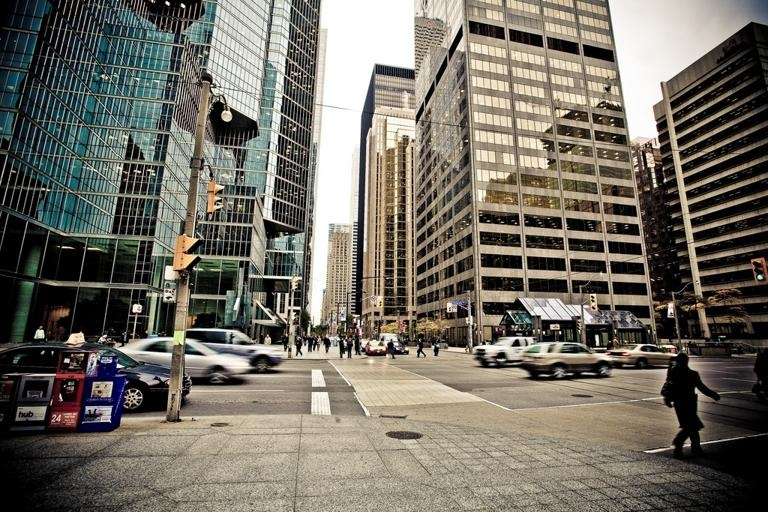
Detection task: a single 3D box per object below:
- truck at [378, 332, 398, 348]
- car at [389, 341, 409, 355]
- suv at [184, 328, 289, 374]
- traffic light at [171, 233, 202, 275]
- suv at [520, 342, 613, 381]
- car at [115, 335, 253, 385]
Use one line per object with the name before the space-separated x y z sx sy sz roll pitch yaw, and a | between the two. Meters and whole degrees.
truck | 0.649 9.277 54.886 1.714 1.372 2.588 3 -20 -10
car | 1.961 10.601 57.912 2.157 1.430 3.409 2 -17 -8
suv | -10.214 6.429 34.247 6.498 2.366 2.851 2 -7 -16
traffic light | -10.058 -0.124 25.082 1.334 1.935 0.564 3 8 2
suv | 12.763 7.439 35.100 5.409 1.961 2.695 -1 -8 -8
car | -11.855 6.762 30.679 8.141 2.437 3.246 4 -7 -20
